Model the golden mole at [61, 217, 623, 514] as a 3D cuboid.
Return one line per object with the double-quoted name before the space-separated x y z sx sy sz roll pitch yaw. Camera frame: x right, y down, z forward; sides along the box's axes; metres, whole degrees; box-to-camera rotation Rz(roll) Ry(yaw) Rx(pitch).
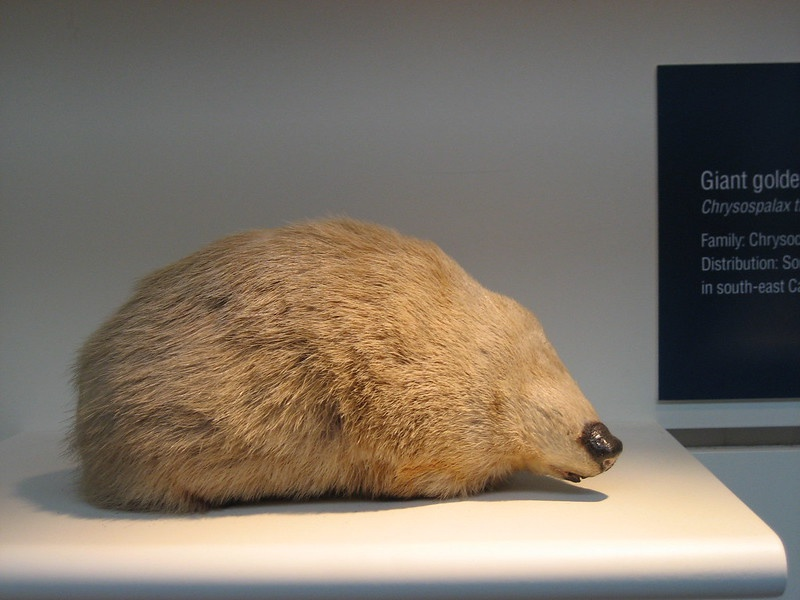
"golden mole" -0.085 0.089 1.719 0.812 0.356 0.413 3 8 3
